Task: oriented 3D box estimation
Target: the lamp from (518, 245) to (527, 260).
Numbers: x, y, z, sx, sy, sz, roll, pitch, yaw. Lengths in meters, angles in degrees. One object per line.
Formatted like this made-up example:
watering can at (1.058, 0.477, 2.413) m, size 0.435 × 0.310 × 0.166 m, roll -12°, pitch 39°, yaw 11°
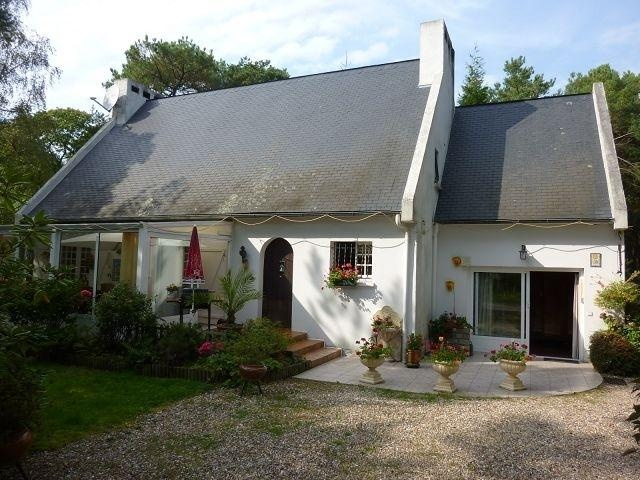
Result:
lamp at (7.062, 0.455, 17.469) m, size 0.266 × 0.501 × 0.201 m, roll 3°, pitch 6°, yaw 17°

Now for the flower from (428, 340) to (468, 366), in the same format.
flower at (3.609, 3.269, 14.355) m, size 1.220 × 0.812 × 1.363 m, roll 1°, pitch -5°, yaw -2°

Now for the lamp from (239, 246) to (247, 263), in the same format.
lamp at (-2.815, 0.553, 18.397) m, size 0.244 × 0.587 × 0.200 m, roll -3°, pitch 7°, yaw -31°

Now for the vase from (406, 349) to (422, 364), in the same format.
vase at (3.000, 3.719, 16.051) m, size 0.471 × 0.354 × 0.476 m, roll 1°, pitch -10°, yaw -2°

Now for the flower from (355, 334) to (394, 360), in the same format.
flower at (1.495, 3.223, 14.751) m, size 1.020 × 0.708 × 1.014 m, roll 2°, pitch -8°, yaw -12°

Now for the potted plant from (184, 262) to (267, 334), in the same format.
potted plant at (-3.380, 1.969, 17.393) m, size 2.189 × 1.930 × 2.172 m, roll 1°, pitch -15°, yaw -7°

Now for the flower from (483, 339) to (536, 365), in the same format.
flower at (5.961, 3.567, 15.962) m, size 1.143 × 0.541 × 1.186 m, roll -3°, pitch -8°, yaw 36°

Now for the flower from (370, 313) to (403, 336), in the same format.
flower at (2.070, 2.745, 16.143) m, size 0.720 × 0.410 × 0.717 m, roll 1°, pitch -3°, yaw -18°

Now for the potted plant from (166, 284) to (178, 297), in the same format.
potted plant at (-5.058, 1.760, 17.225) m, size 0.372 × 0.267 × 0.362 m, roll 1°, pitch 1°, yaw -32°

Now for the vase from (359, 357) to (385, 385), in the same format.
vase at (1.504, 3.745, 14.447) m, size 0.727 × 0.775 × 0.730 m, roll -8°, pitch -15°, yaw 37°

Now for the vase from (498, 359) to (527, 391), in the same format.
vase at (5.458, 3.835, 14.260) m, size 0.786 × 0.785 × 0.751 m, roll -5°, pitch -16°, yaw 36°

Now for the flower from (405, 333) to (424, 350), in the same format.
flower at (3.000, 3.220, 16.027) m, size 0.435 × 0.565 × 0.549 m, roll -7°, pitch -12°, yaw 33°

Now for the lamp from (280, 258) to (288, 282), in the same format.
lamp at (-1.373, 1.141, 19.124) m, size 0.408 × 0.837 × 0.111 m, roll 5°, pitch 7°, yaw 32°
